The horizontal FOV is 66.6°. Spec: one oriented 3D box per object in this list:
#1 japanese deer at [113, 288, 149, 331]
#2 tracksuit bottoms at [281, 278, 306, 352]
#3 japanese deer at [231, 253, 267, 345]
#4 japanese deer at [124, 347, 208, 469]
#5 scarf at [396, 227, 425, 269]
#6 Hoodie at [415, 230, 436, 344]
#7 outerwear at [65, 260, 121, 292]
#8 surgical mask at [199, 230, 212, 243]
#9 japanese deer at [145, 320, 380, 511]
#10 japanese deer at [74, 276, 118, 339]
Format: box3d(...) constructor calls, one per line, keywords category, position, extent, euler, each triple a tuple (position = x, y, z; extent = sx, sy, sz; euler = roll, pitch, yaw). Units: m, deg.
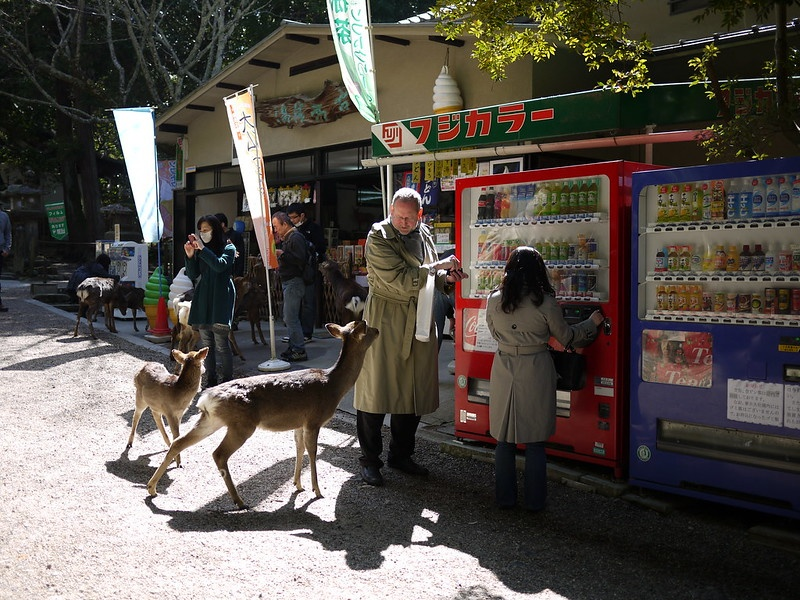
box3d(category="japanese deer", position=(-5.738, 0.154, 13.128), extent=(0.246, 0.766, 0.995), euler=(-17, 16, 1))
box3d(category="tracksuit bottoms", position=(-1.693, 0.211, 9.780), extent=(0.355, 1.242, 0.422), euler=(-2, -4, -7))
box3d(category="japanese deer", position=(-2.713, 0.003, 11.337), extent=(0.625, 2.063, 0.779), euler=(-4, 13, -41))
box3d(category="japanese deer", position=(-2.250, 0.988, 5.977), extent=(1.289, 1.170, 0.444), euler=(5, 8, 35))
box3d(category="scarf", position=(0.081, -0.466, 5.487), extent=(0.189, 0.373, 0.258), euler=(-6, 16, 39))
box3d(category="Hoodie", position=(0.238, -0.144, 5.571), extent=(0.152, 1.027, 0.464), euler=(2, 6, 3))
box3d(category="outerwear", position=(-6.846, -0.645, 13.531), extent=(1.263, 0.734, 0.909), euler=(-15, 16, -39))
box3d(category="surgical mask", position=(-2.508, -0.821, 7.885), extent=(0.121, 0.096, 0.145), euler=(1, 7, 6))
box3d(category="japanese deer", position=(-1.039, 0.995, 5.260), extent=(2.073, 1.523, 0.655), euler=(0, 6, -34))
box3d(category="japanese deer", position=(-5.956, 0.072, 12.157), extent=(0.764, 1.339, 0.827), euler=(0, 12, -39))
